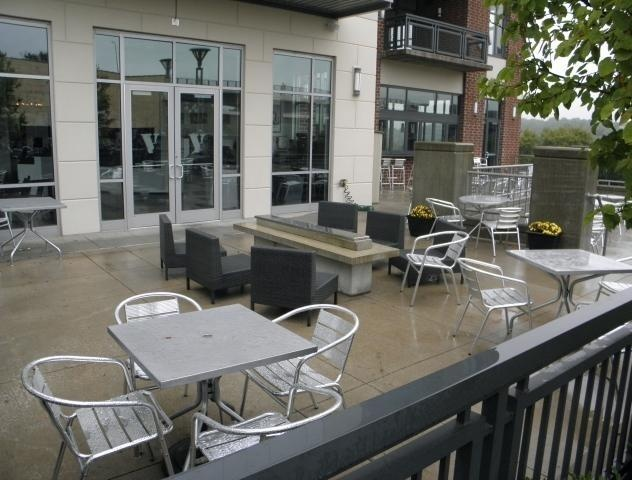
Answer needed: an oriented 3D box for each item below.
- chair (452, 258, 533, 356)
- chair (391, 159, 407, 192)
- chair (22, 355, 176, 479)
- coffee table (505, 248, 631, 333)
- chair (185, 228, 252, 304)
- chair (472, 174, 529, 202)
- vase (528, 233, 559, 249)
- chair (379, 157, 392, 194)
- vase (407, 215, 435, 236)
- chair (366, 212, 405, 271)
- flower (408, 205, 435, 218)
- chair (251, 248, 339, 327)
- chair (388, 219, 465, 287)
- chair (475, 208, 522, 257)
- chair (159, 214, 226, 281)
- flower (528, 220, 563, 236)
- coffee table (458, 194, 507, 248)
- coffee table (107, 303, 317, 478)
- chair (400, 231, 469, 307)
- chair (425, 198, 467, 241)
[{"bbox_3d":[2.145,0.755,5.968,0.610,0.853,0.612,0,-2,-12],"label":"chair"},{"bbox_3d":[3.865,-3.017,22.641,0.752,1.190,1.901,-11,3,12],"label":"chair"},{"bbox_3d":[-1.645,1.392,3.751,0.730,0.901,0.679,-8,27,-29],"label":"chair"},{"bbox_3d":[3.159,0.292,6.230,1.200,1.157,1.210,-6,16,-17],"label":"coffee table"},{"bbox_3d":[-1.472,0.267,7.598,1.050,1.148,1.048,-11,24,-36],"label":"chair"},{"bbox_3d":[4.643,-1.348,12.455,1.048,0.646,1.075,12,16,38],"label":"chair"},{"bbox_3d":[4.620,0.040,10.032,0.393,0.397,0.394,4,10,23],"label":"vase"},{"bbox_3d":[3.211,-2.970,22.262,0.707,1.204,1.196,-11,3,10],"label":"chair"},{"bbox_3d":[2.482,-0.322,11.693,0.470,0.422,0.583,5,8,34],"label":"vase"},{"bbox_3d":[1.430,0.007,8.862,0.610,0.880,0.859,-4,10,-38],"label":"chair"},{"bbox_3d":[2.548,-0.647,11.752,0.399,0.282,0.372,2,1,-19],"label":"flower"},{"bbox_3d":[-0.228,0.478,6.611,0.943,1.029,0.995,6,11,33],"label":"chair"},{"bbox_3d":[1.842,0.267,7.549,0.900,0.723,0.831,-1,11,-13],"label":"chair"},{"bbox_3d":[3.995,-0.126,10.673,0.828,1.118,0.799,-5,21,-8],"label":"chair"},{"bbox_3d":[-2.190,0.095,8.471,1.056,0.968,1.049,-6,16,-36],"label":"chair"},{"bbox_3d":[4.690,-0.218,10.044,0.427,0.189,0.343,9,11,44],"label":"flower"},{"bbox_3d":[3.874,-0.433,11.733,1.162,0.884,1.170,-6,13,-19],"label":"coffee table"},{"bbox_3d":[-0.881,1.106,3.800,1.062,0.679,1.057,-8,16,-35],"label":"coffee table"},{"bbox_3d":[1.736,0.409,7.518,1.054,1.055,1.042,-8,13,-42],"label":"chair"},{"bbox_3d":[2.862,-0.407,10.827,0.816,0.961,0.757,4,5,25],"label":"chair"}]
